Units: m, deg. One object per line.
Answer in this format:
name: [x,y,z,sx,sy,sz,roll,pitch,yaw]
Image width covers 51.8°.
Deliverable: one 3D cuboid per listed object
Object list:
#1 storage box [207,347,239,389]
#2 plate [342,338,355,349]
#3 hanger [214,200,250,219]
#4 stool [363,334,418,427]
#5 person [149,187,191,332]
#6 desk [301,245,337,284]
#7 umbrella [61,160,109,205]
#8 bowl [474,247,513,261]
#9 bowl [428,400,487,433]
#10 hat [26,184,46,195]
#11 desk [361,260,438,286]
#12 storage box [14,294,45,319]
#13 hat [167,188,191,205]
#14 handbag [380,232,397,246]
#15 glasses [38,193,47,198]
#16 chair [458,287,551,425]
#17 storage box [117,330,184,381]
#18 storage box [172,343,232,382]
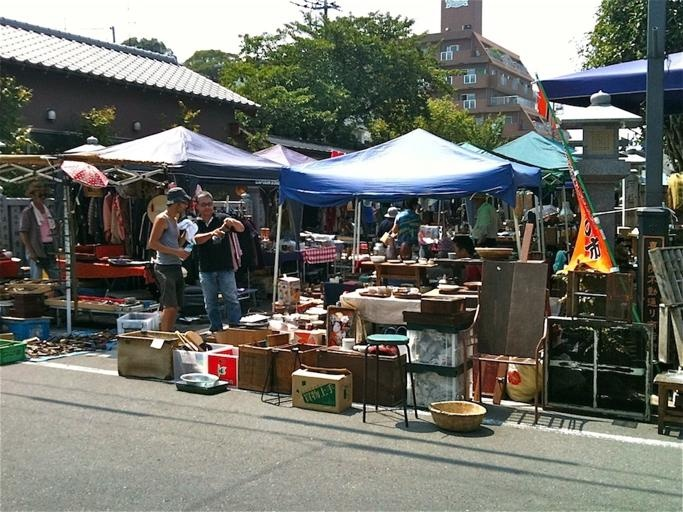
storage box: [-1.479,1.441,9.066,0.410,0.426,0.410,0,-1,28]
plate: [0.078,1.086,8.684,0.135,0.101,0.110,-2,4,-13]
hanger: [-2.301,-0.972,14.765,0.580,0.185,0.600,6,13,18]
stool: [0.565,1.329,8.159,0.638,1.018,1.020,1,15,3]
person: [-2.402,0.039,10.013,0.621,1.955,0.478,-11,18,-36]
desk: [-0.552,0.148,16.081,0.484,0.973,1.794,3,16,12]
umbrella: [-4.194,-1.211,11.505,0.602,0.224,0.618,33,35,-4]
bowl: [2.303,-0.030,10.781,0.457,0.234,0.362,0,15,1]
bowl: [1.257,1.768,7.738,0.599,0.261,0.395,2,15,7]
hat: [-5.195,-1.135,12.003,0.288,0.223,0.204,-3,15,-11]
desk: [0.904,0.307,11.197,1.180,0.476,0.660,3,15,11]
storage box: [-4.904,0.747,11.059,0.384,0.390,0.397,1,3,16]
hat: [-2.307,-0.855,10.048,0.200,0.164,0.302,8,13,31]
handbag: [0.806,-0.292,11.967,0.228,0.249,0.190,23,-7,-13]
glasses: [-5.091,-1.033,11.987,0.072,0.080,0.033,0,-1,-11]
chair: [1.979,1.101,8.385,0.867,1.426,1.147,4,15,16]
storage box: [-2.513,1.216,9.329,0.830,0.565,0.558,4,9,20]
storage box: [-1.886,1.339,9.141,0.471,0.311,0.488,0,1,29]
